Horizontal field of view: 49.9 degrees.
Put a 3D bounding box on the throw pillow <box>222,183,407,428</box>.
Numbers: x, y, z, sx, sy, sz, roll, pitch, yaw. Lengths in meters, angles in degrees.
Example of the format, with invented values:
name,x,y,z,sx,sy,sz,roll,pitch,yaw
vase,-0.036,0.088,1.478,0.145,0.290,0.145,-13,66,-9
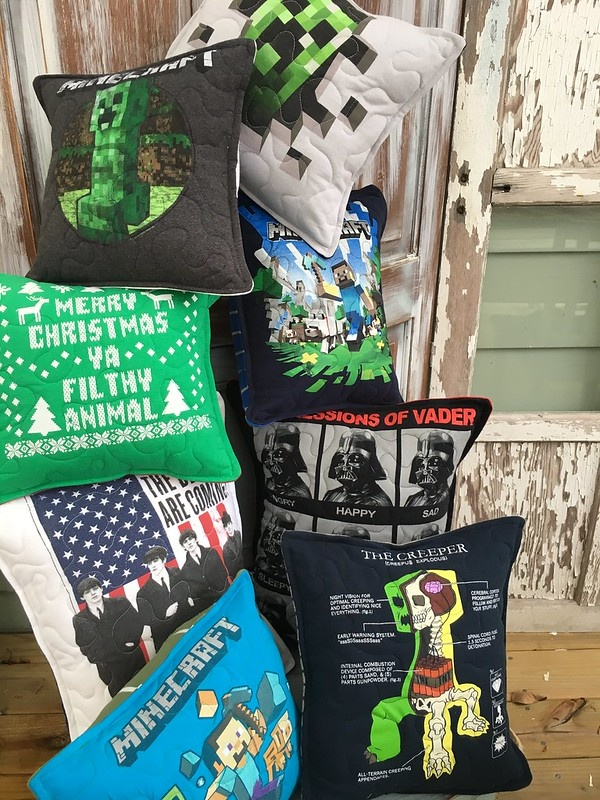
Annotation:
name,x,y,z,sx,sy,sz,roll,pitch,yaw
throw pillow,-0.006,-0.141,1.103,0.378,0.338,0.110,-10,4,-33

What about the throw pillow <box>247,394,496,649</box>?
name,x,y,z,sx,sy,sz,roll,pitch,yaw
throw pillow,0.106,0.185,1.001,0.414,0.409,0.148,-3,-7,-1
